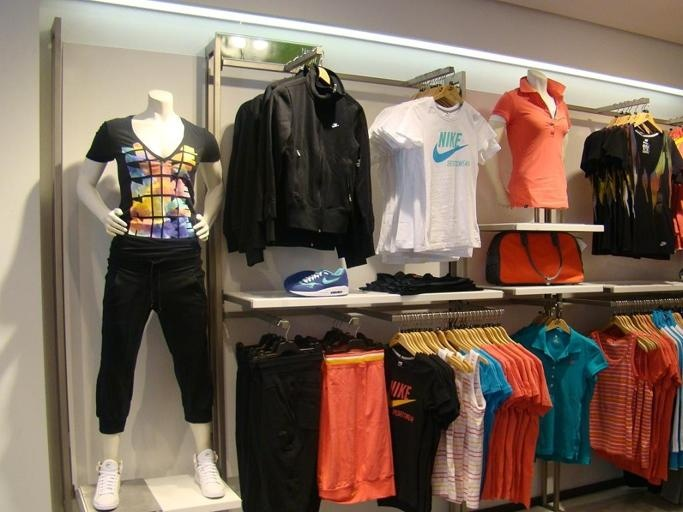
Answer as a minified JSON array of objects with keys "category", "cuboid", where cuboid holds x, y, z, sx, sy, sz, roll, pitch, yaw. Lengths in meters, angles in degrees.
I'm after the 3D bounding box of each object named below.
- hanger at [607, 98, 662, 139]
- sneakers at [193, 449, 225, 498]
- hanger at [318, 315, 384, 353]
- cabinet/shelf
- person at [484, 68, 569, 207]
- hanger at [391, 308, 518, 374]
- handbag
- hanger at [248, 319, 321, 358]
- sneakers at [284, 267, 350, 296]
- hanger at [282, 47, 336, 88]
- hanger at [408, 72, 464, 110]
[{"category":"hanger","cuboid":[2.101,-1.005,4.189,0.332,0.250,0.500,-3,7,-11]},{"category":"sneakers","cuboid":[-0.734,1.152,3.055,0.109,0.171,0.352,2,9,-30]},{"category":"hanger","cuboid":[0.021,0.420,3.290,0.202,0.123,0.306,2,-1,-15]},{"category":"cabinet/shelf","cuboid":[1.325,0.006,3.866,0.670,0.444,0.394,1,-3,-10]},{"category":"person","cuboid":[1.261,-0.777,3.784,0.531,0.913,0.294,-1,4,11]},{"category":"hanger","cuboid":[0.669,0.429,3.364,0.509,0.230,0.392,-3,1,-25]},{"category":"handbag","cuboid":[1.335,0.025,3.869,0.654,0.379,0.298,1,-7,-8]},{"category":"hanger","cuboid":[-0.291,0.436,3.168,0.285,0.126,0.207,3,-2,-38]},{"category":"sneakers","cuboid":[-0.135,0.154,3.175,0.285,0.140,0.159,3,-5,-16]},{"category":"hanger","cuboid":[-0.211,-1.113,3.318,0.329,0.246,0.111,2,5,38]},{"category":"hanger","cuboid":[0.596,-1.069,3.658,0.153,0.237,0.477,-3,11,-27]}]
